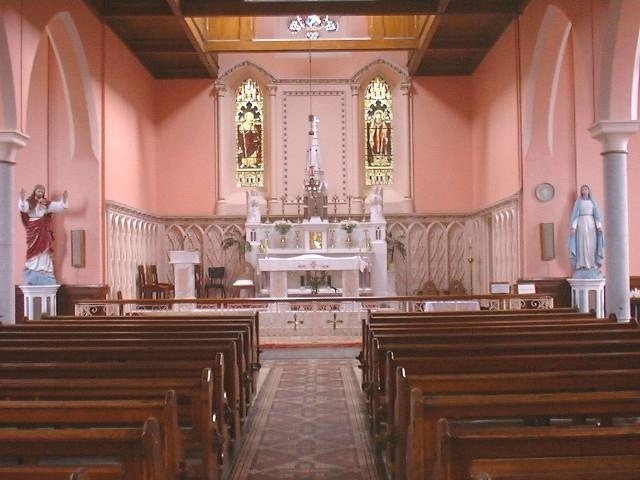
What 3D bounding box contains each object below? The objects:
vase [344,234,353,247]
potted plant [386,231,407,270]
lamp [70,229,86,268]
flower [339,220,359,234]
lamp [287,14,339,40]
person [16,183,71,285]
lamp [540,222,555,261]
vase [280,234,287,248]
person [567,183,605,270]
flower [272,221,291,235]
[{"bbox_3d":[0.720,0.034,25.111,0.185,0.333,0.243,-1,-3,1],"label":"vase"},{"bbox_3d":[1.969,0.169,26.247,0.512,0.827,0.735,-2,-4,5],"label":"potted plant"},{"bbox_3d":[-5.080,0.195,21.847,0.299,0.801,0.142,0,-3,-14],"label":"lamp"},{"bbox_3d":[0.722,-0.319,25.091,0.340,0.288,0.337,2,-5,1],"label":"flower"},{"bbox_3d":[-0.152,-5.579,26.860,0.941,0.331,0.915,6,-14,-26],"label":"lamp"},{"bbox_3d":[-5.605,-0.084,20.886,0.880,2.054,0.531,0,-3,-23],"label":"person"},{"bbox_3d":[4.937,0.012,21.951,0.227,0.768,0.270,0,4,38],"label":"lamp"},{"bbox_3d":[-0.865,0.029,25.146,0.127,0.328,0.263,-2,-4,9],"label":"vase"},{"bbox_3d":[5.391,-0.183,20.953,0.667,1.805,0.301,-2,-3,14],"label":"person"},{"bbox_3d":[-0.875,-0.270,25.109,0.429,0.297,0.357,-1,-4,-1],"label":"flower"}]
